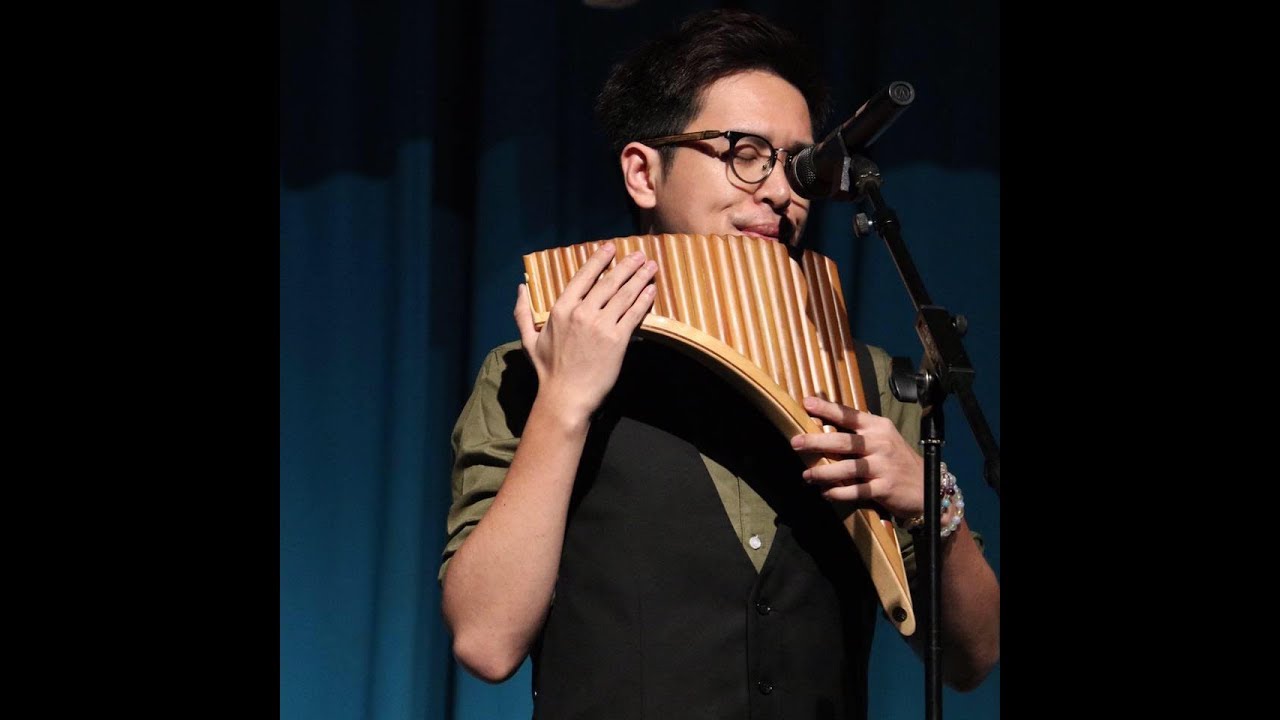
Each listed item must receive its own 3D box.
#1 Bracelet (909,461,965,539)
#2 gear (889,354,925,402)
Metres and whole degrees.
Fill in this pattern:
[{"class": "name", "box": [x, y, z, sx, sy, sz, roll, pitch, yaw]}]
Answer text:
[{"class": "Bracelet", "box": [0.583, 0.275, 2.769, 0.115, 0.155, 0.056, -3, -24, 5]}, {"class": "gear", "box": [0.455, 0.040, 2.469, 0.055, 0.077, 0.033, 1, -24, 3]}]
